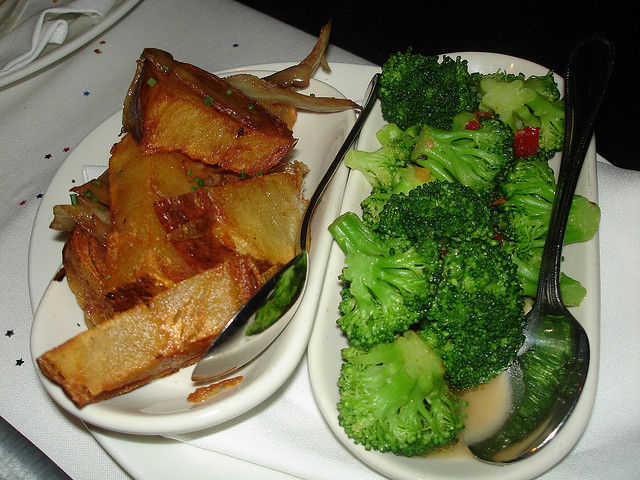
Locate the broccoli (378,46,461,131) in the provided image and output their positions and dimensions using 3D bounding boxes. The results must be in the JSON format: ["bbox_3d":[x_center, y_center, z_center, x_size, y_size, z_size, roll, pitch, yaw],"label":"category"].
[{"bbox_3d":[0.423,-0.645,2.501,0.346,0.124,0.356,-9,103,3],"label":"broccoli"}]

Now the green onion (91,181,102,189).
[{"bbox_3d":[-0.855,-0.216,2.192,0.028,0.007,0.029,6,48,-21],"label":"green onion"}]

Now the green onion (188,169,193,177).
[{"bbox_3d":[-0.494,-0.260,2.180,0.012,0.009,0.026,9,42,-10],"label":"green onion"}]

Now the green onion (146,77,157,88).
[{"bbox_3d":[-0.630,-0.592,2.141,0.034,0.006,0.032,3,89,31],"label":"green onion"}]

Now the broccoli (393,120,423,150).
[{"bbox_3d":[0.369,-0.446,2.427,0.127,0.034,0.083,-28,59,-21],"label":"broccoli"}]

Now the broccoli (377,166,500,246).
[{"bbox_3d":[0.441,-0.111,2.156,0.310,0.084,0.321,-25,65,-11],"label":"broccoli"}]

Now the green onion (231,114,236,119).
[{"bbox_3d":[-0.329,-0.474,2.175,0.014,0.016,0.023,6,60,5],"label":"green onion"}]

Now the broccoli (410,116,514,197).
[{"bbox_3d":[0.545,-0.290,2.411,0.159,0.348,0.456,-8,86,42],"label":"broccoli"}]

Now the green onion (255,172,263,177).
[{"bbox_3d":[-0.243,-0.264,2.263,0.024,0.008,0.026,-6,36,-16],"label":"green onion"}]

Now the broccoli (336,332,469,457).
[{"bbox_3d":[0.244,0.518,1.969,0.378,0.105,0.403,-1,68,-8],"label":"broccoli"}]

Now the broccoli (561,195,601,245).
[{"bbox_3d":[0.988,-0.081,2.166,0.134,0.037,0.165,16,77,4],"label":"broccoli"}]

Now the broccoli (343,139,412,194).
[{"bbox_3d":[0.264,-0.322,2.349,0.269,0.265,0.078,21,61,-27],"label":"broccoli"}]

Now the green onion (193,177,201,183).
[{"bbox_3d":[-0.469,-0.233,2.181,0.019,0.009,0.016,11,43,46],"label":"green onion"}]

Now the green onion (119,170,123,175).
[{"bbox_3d":[-0.746,-0.257,2.143,0.010,0.003,0.014,36,85,-3],"label":"green onion"}]

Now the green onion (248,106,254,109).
[{"bbox_3d":[-0.281,-0.539,2.310,0.015,0.004,0.014,-2,76,-3],"label":"green onion"}]

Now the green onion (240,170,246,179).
[{"bbox_3d":[-0.307,-0.267,2.276,0.019,0.011,0.034,0,89,-3],"label":"green onion"}]

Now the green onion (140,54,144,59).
[{"bbox_3d":[-0.684,-0.707,2.200,0.009,0.015,0.015,-11,60,-5],"label":"green onion"}]

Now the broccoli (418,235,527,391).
[{"bbox_3d":[0.560,0.261,2.152,0.376,0.181,0.540,3,84,-6],"label":"broccoli"}]

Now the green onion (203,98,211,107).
[{"bbox_3d":[-0.422,-0.518,2.140,0.033,0.009,0.033,3,82,-8],"label":"green onion"}]
